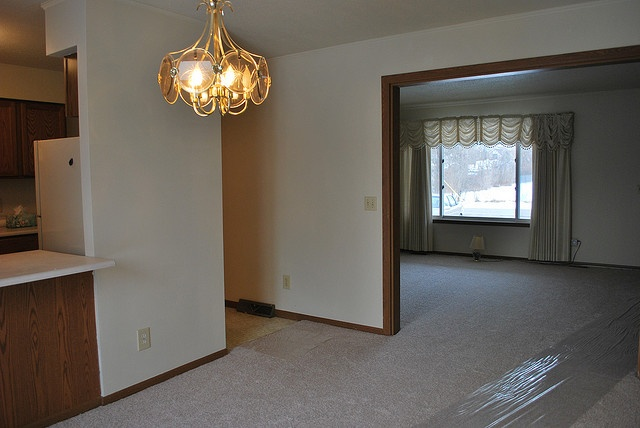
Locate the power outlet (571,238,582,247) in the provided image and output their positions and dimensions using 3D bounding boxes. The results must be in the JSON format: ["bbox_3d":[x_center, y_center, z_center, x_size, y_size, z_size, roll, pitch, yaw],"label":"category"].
[{"bbox_3d":[4.411,0.499,7.590,0.128,0.111,0.093,2,-1,-6],"label":"power outlet"}]

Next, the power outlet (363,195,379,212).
[{"bbox_3d":[0.570,-0.116,4.840,0.170,0.177,0.012,0,-1,35],"label":"power outlet"}]
